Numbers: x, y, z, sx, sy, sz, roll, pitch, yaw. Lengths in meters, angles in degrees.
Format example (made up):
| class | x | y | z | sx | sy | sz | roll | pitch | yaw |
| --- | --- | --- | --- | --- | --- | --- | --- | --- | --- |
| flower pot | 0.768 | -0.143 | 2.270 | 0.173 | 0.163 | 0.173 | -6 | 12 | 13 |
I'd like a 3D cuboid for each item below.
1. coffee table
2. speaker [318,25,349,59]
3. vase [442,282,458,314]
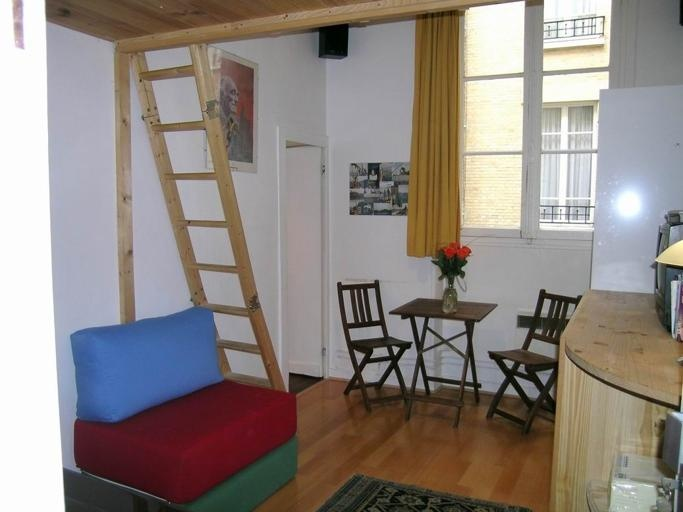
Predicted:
| class | x | y | z | sx | sy | sz | roll | pitch | yaw |
| --- | --- | --- | --- | --- | --- | --- | --- | --- | --- |
| coffee table | 0.754 | 0.789 | 4.755 | 0.994 | 1.314 | 0.929 | 2 | 6 | 28 |
| speaker | -0.076 | -2.129 | 5.069 | 0.290 | 0.298 | 0.175 | 0 | 4 | -8 |
| vase | 0.913 | 0.349 | 4.346 | 0.123 | 0.242 | 0.239 | 1 | 4 | 12 |
